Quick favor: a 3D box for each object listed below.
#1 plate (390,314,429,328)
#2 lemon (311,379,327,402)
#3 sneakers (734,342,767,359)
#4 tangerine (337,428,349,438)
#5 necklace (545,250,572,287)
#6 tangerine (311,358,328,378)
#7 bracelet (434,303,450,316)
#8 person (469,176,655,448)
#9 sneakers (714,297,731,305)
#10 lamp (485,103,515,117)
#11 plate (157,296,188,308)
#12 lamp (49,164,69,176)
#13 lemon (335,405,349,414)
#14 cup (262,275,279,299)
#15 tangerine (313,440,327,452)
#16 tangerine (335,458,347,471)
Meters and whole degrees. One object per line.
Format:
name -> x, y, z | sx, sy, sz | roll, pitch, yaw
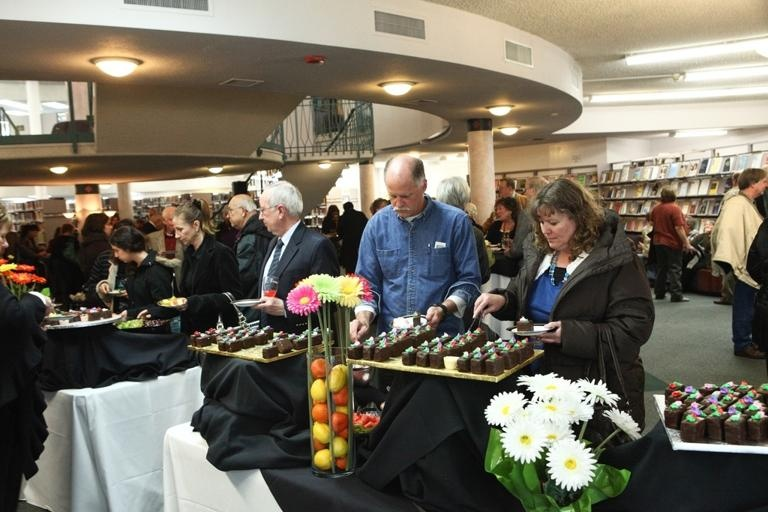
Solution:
plate -> 0.114, 0.319, 2.649 | 0.112, 0.041, 0.085 | -5, 3, -35
lemon -> -0.284, 0.582, 2.404 | 0.088, 0.110, 0.087 | -1, 1, -5
sneakers -> 3.876, 1.002, 5.798 | 0.140, 0.139, 0.309 | -6, 7, -24
tangerine -> -0.186, 0.771, 2.371 | 0.041, 0.067, 0.047 | -10, -15, -15
necklace -> 0.886, 0.079, 2.840 | 0.147, 0.039, 0.111 | 22, 11, -6
tangerine -> -0.285, 0.479, 2.358 | 0.078, 0.078, 0.079 | 2, -3, -11
bracelet -> 0.300, 0.277, 2.822 | 0.079, 0.076, 0.052 | 7, 26, 41
person -> 0.987, 0.398, 2.947 | 0.748, 1.554, 0.839 | -13, 16, -41
sneakers -> 5.261, 0.697, 8.449 | 0.070, 0.090, 0.208 | 3, 1, -27
lamp -> 2.016, -2.572, 9.541 | 0.442, 0.114, 0.483 | -6, 8, -29
plate -> -1.408, 0.317, 3.619 | 0.153, 0.067, 0.129 | 1, 7, 25
lamp -> -6.014, -1.610, 10.064 | 0.362, 0.134, 0.369 | 0, -1, 0
lemon -> -0.184, 0.662, 2.354 | 0.038, 0.036, 0.038 | 22, -31, -3
cup -> -0.694, 0.178, 3.303 | 0.092, 0.129, 0.459 | -4, 7, -12
tangerine -> -0.282, 0.830, 2.381 | 0.052, 0.051, 0.049 | 8, 5, -10
tangerine -> -0.186, 0.902, 2.381 | 0.048, 0.050, 0.050 | 2, 1, 9
